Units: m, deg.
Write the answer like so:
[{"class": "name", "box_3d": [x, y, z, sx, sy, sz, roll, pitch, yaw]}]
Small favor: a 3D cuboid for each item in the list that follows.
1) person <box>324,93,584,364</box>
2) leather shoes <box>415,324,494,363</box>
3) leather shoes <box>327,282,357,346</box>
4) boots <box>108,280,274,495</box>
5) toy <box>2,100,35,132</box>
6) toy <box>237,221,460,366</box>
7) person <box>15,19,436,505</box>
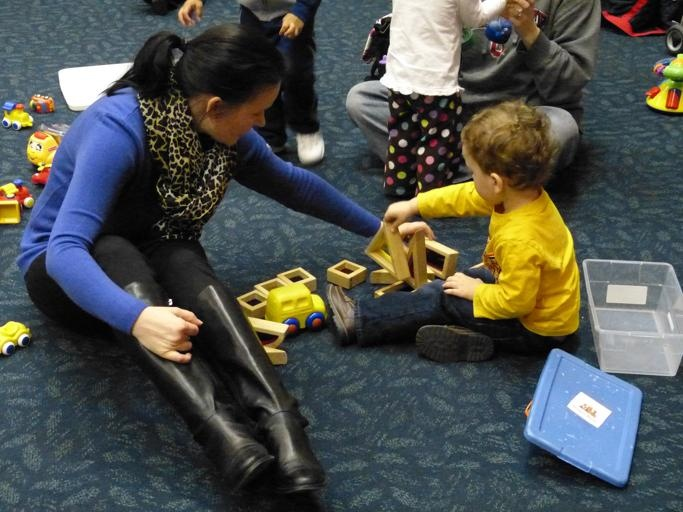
[{"class": "person", "box_3d": [0.233, -0.185, 2.153, 1.015, 0.906, 0.585, 5, 30, 14]}, {"class": "leather shoes", "box_3d": [0.334, 0.267, 1.947, 0.250, 0.093, 0.105, 7, 9, -2]}, {"class": "leather shoes", "box_3d": [0.001, 0.184, 2.030, 0.093, 0.066, 0.191, -9, 47, 6]}, {"class": "boots", "box_3d": [-0.325, 0.304, 1.593, 0.561, 0.184, 0.169, 46, 13, 11]}, {"class": "toy", "box_3d": [-1.491, -0.645, 2.971, 0.167, 0.093, 0.091, 22, 30, 24]}, {"class": "toy", "box_3d": [0.049, 0.180, 2.170, 0.637, 0.208, 0.434, -20, 33, -16]}, {"class": "person", "box_3d": [-0.306, -0.124, 1.885, 1.270, 0.914, 1.016, 29, 35, 27]}]
